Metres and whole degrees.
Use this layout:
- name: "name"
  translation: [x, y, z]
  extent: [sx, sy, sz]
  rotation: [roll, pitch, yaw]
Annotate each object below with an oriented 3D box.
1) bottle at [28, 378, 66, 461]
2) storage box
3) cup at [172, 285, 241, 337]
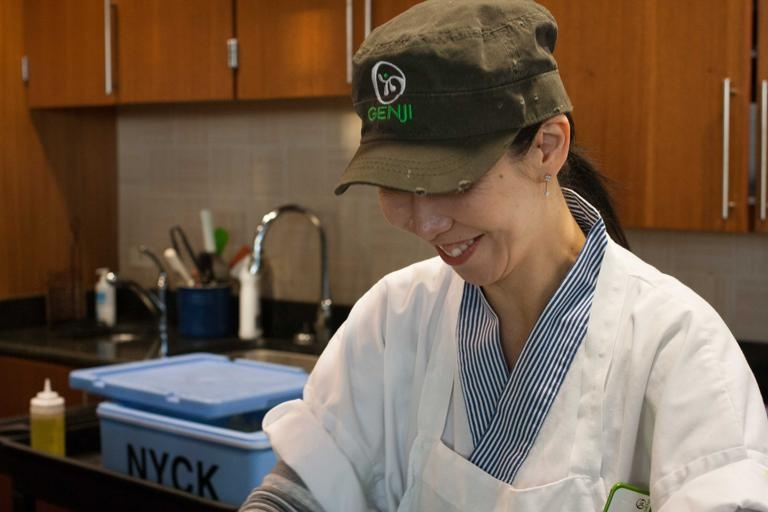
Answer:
- name: "bottle"
  translation: [-1.009, 0.485, 3.103]
  extent: [0.112, 0.218, 0.092]
  rotation: [-1, 3, -7]
- name: "storage box"
  translation: [-0.552, 0.481, 2.990]
  extent: [0.502, 0.235, 0.393]
  rotation: [8, 9, 35]
- name: "cup"
  translation: [-0.731, 0.228, 4.218]
  extent: [0.172, 0.215, 0.198]
  rotation: [-1, 1, -6]
